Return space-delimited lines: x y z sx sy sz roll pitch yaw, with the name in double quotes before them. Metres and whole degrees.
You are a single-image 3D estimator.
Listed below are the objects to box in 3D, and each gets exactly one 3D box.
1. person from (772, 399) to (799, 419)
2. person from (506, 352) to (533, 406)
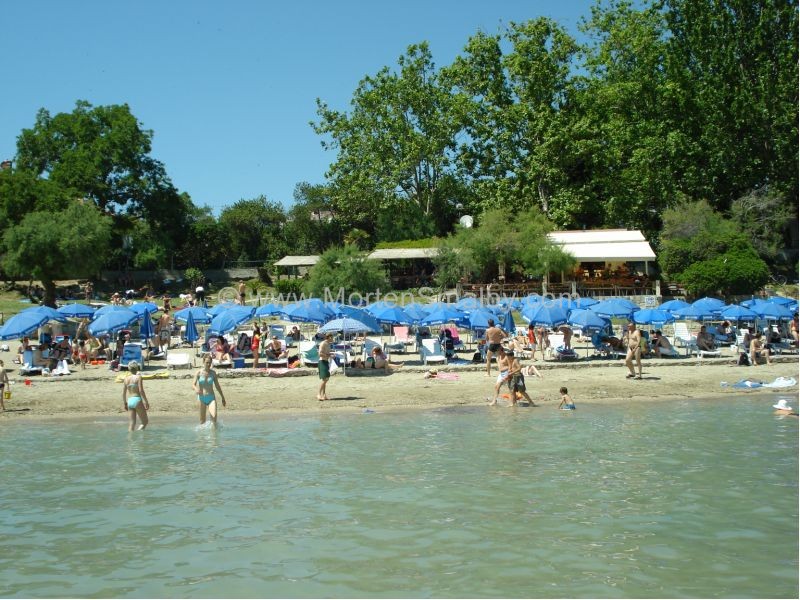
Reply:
"person" 14.193 4.046 37.958 0.593 0.282 0.736 1 13 6
"person" 4.533 2.910 38.986 1.033 2.108 1.212 1 15 7
